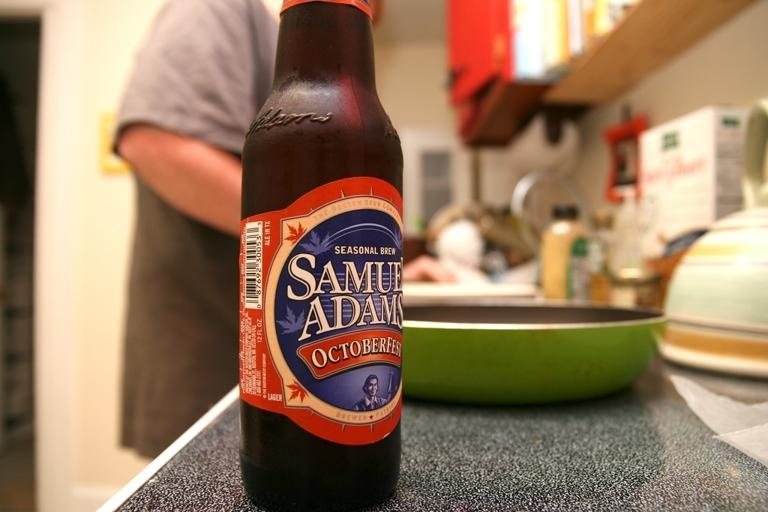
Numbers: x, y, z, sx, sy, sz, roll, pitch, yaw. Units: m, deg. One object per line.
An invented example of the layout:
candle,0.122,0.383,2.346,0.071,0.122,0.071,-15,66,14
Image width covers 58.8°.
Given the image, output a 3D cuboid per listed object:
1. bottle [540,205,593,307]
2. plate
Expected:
bottle,0.390,-0.008,1.471,0.101,0.201,0.199,1,7,13
plate,0.204,0.126,0.980,0.352,0.118,0.275,-1,7,2
